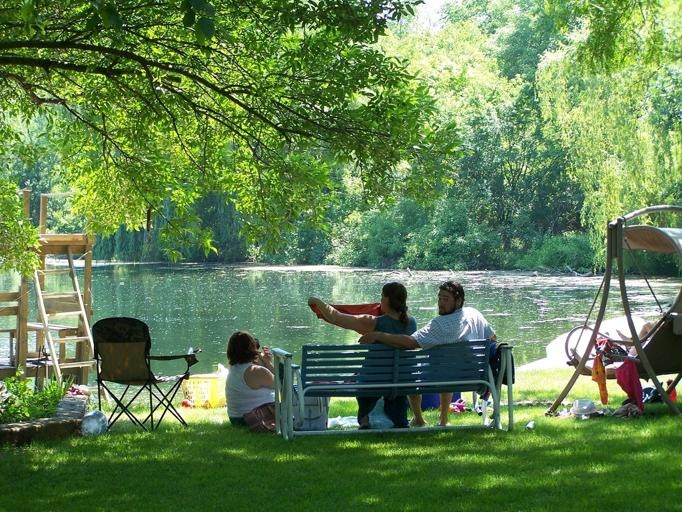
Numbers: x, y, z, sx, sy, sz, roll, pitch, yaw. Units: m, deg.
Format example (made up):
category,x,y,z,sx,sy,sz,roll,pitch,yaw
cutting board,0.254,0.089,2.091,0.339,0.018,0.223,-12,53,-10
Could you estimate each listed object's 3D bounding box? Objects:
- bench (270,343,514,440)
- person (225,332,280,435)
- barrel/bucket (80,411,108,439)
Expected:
category,x,y,z,sx,sy,sz,roll,pitch,yaw
bench,0.617,1.689,12.393,2.818,1.155,0.944,0,-7,-9
person,-1.061,1.662,13.158,0.763,1.323,1.081,-8,-14,41
barrel/bucket,-3.190,2.175,12.768,0.397,0.297,0.295,-1,-5,-31
